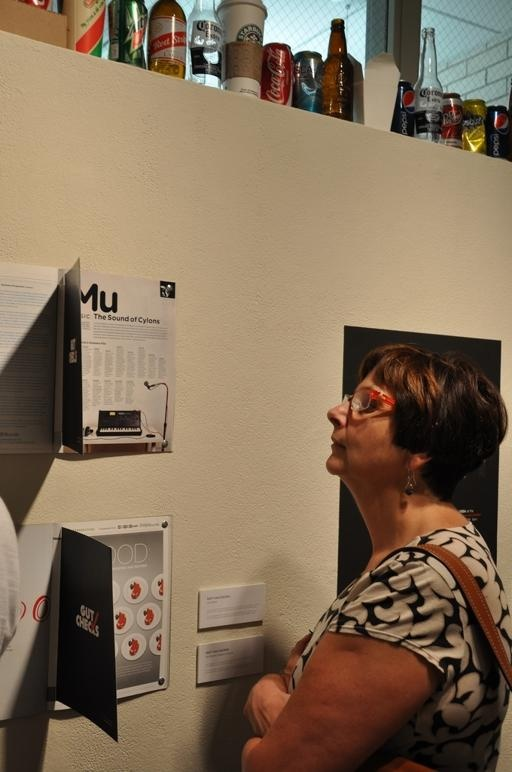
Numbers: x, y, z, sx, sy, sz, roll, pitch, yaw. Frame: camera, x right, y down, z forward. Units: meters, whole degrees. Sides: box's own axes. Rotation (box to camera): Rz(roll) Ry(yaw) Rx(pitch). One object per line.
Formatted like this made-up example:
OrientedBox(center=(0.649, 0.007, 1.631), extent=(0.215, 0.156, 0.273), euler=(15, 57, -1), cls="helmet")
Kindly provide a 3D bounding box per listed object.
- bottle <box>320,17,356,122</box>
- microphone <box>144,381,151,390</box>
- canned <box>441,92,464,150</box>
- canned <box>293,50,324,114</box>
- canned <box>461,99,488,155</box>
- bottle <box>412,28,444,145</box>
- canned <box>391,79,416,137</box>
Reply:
OrientedBox(center=(0.198, -0.720, 1.409), extent=(0.102, 0.200, 0.084), euler=(0, 5, -18), cls="bottle")
OrientedBox(center=(-0.209, -0.002, 1.175), extent=(0.014, 0.009, 0.003), euler=(47, -20, -17), cls="microphone")
OrientedBox(center=(0.519, -0.696, 1.609), extent=(0.084, 0.139, 0.036), euler=(-1, 6, -32), cls="canned")
OrientedBox(center=(0.117, -0.689, 1.393), extent=(0.068, 0.124, 0.060), euler=(2, 5, 4), cls="canned")
OrientedBox(center=(0.596, -0.694, 1.648), extent=(0.087, 0.132, 0.047), euler=(-1, 5, -26), cls="canned")
OrientedBox(center=(0.444, -0.772, 1.568), extent=(0.069, 0.303, 0.109), euler=(3, 5, 16), cls="bottle")
OrientedBox(center=(0.377, -0.701, 1.546), extent=(0.084, 0.138, 0.030), euler=(-2, 6, -36), cls="canned")
